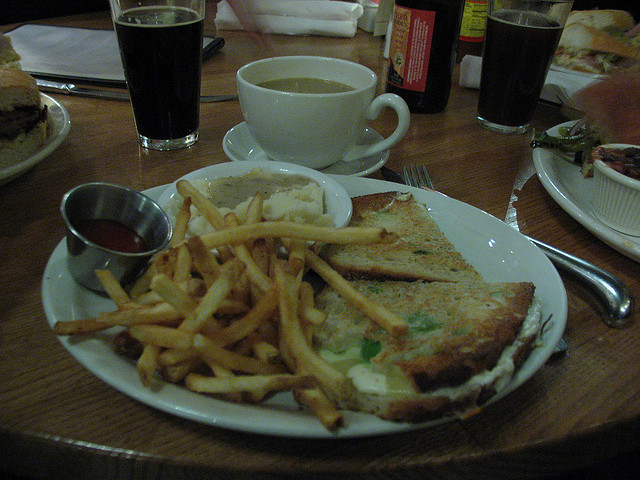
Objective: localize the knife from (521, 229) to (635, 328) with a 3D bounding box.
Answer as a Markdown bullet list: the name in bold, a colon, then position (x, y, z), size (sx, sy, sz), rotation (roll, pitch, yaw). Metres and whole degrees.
- **knife**: position (0.445, 0.046, 0.932), size (0.063, 0.033, 0.287), rotation (-18, 46, -17)

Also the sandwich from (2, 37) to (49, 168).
- **sandwich**: position (-0.612, -0.291, 1.077), size (0.126, 0.246, 0.196), rotation (-10, 22, -38)

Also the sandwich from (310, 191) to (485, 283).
- **sandwich**: position (0.144, -0.006, 0.953), size (0.271, 0.039, 0.366), rotation (4, 26, 6)

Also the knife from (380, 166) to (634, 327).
- **knife**: position (0.359, 0.007, 0.937), size (0.070, 0.045, 0.411), rotation (-29, 51, -33)

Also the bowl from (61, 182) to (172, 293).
- **bowl**: position (-0.338, -0.016, 0.841), size (0.163, 0.110, 0.190), rotation (-11, 46, -14)
